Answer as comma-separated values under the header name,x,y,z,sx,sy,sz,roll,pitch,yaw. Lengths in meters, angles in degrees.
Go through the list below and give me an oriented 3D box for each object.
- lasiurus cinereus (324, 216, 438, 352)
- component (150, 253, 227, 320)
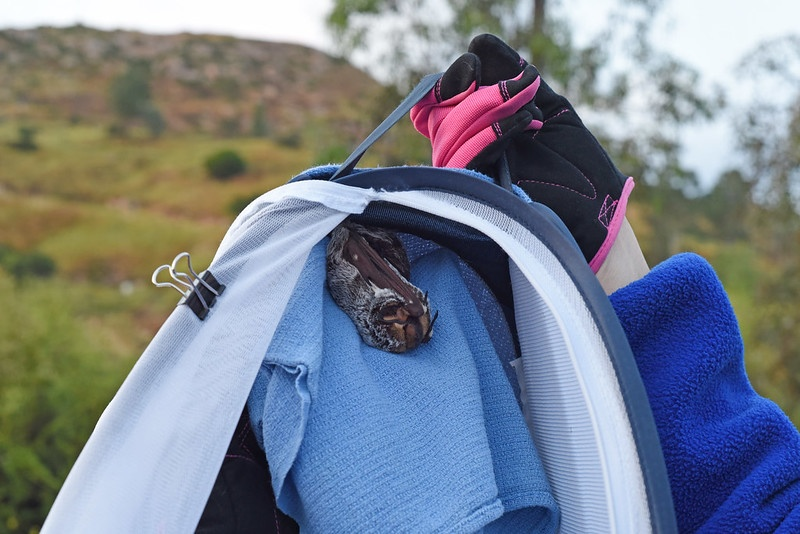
name,x,y,z,sx,sy,sz,roll,pitch,yaw
lasiurus cinereus,-0.068,0.061,2.396,0.234,0.152,0.385,-11,65,-33
component,-0.700,0.053,2.965,0.217,0.174,0.194,20,-21,37
